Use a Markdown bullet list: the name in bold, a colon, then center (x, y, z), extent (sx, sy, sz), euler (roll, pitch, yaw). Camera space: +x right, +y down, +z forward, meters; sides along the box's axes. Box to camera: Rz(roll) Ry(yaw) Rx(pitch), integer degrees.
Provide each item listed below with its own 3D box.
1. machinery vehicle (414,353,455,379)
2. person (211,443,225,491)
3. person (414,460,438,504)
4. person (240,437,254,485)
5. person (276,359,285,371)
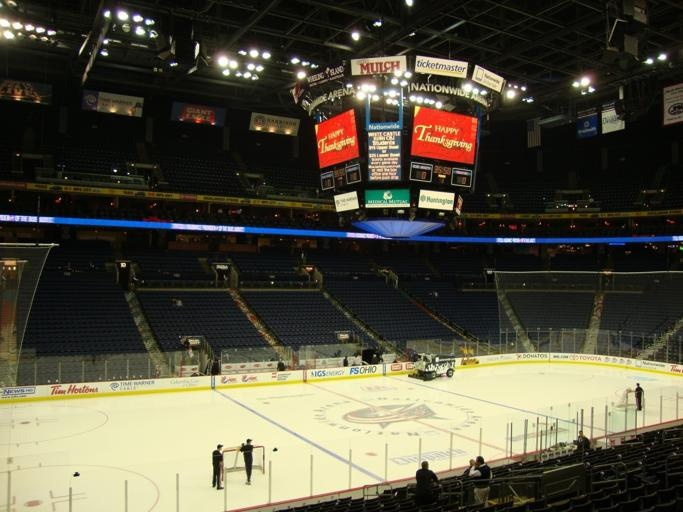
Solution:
- **machinery vehicle**: center (5.826, 6.984, 40.458), extent (2.375, 1.304, 1.318), euler (-1, 1, -27)
- **person**: center (-4.340, 7.381, 22.408), extent (0.389, 1.593, 0.897), euler (-1, 2, -17)
- **person**: center (2.656, 7.055, 20.253), extent (0.603, 1.298, 1.224), euler (0, 2, 16)
- **person**: center (-3.367, 7.293, 22.685), extent (0.466, 1.425, 0.653), euler (-1, 2, -8)
- **person**: center (-3.614, 6.559, 38.171), extent (0.471, 0.587, 0.710), euler (-1, 2, -5)
